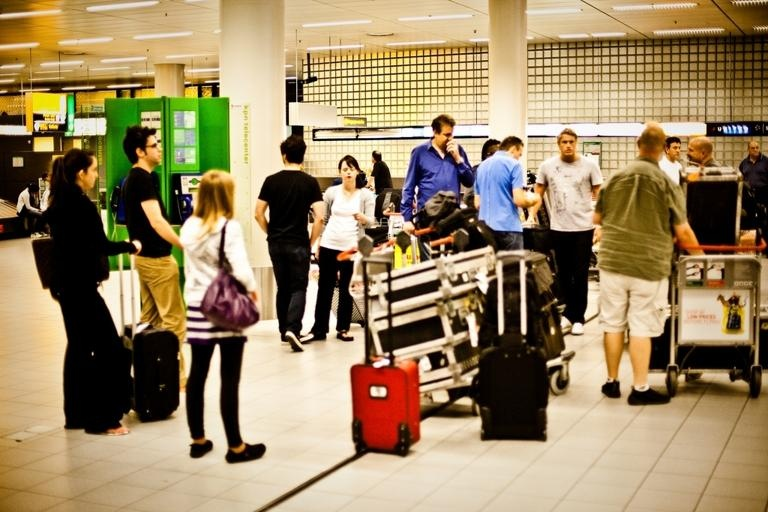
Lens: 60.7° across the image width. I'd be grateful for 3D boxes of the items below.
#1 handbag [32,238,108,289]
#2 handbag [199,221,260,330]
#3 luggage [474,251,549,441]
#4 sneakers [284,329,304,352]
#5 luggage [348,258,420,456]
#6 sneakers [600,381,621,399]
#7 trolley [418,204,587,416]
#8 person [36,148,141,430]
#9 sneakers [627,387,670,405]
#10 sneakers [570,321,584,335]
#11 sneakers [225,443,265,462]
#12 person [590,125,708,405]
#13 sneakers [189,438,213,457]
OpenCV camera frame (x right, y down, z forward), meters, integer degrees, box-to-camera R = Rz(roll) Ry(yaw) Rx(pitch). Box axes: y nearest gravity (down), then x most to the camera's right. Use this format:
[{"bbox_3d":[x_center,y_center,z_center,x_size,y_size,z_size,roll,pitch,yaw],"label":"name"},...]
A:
[{"bbox_3d":[-2.326,0.040,4.870,0.352,0.317,0.180,3,13,2],"label":"handbag"},{"bbox_3d":[-1.014,0.135,4.252,0.355,0.714,0.192,-4,7,-18],"label":"handbag"},{"bbox_3d":[0.930,0.619,4.755,0.506,1.335,0.386,-1,7,7],"label":"luggage"},{"bbox_3d":[-0.952,0.881,6.936,0.193,0.223,0.199,-6,9,-31],"label":"sneakers"},{"bbox_3d":[-0.009,0.711,4.542,0.430,1.258,0.340,-1,10,12],"label":"luggage"},{"bbox_3d":[1.899,1.104,5.487,0.094,0.120,0.183,1,10,6],"label":"sneakers"},{"bbox_3d":[0.868,0.370,5.301,1.298,1.666,1.173,0,6,30],"label":"trolley"},{"bbox_3d":[-2.217,0.262,4.931,0.555,2.110,0.310,0,7,10],"label":"person"},{"bbox_3d":[2.139,1.141,5.401,0.393,0.162,0.131,-2,4,1],"label":"sneakers"},{"bbox_3d":[2.177,0.798,7.401,0.156,0.124,0.318,-2,0,16],"label":"sneakers"},{"bbox_3d":[-0.937,1.305,4.462,0.218,0.084,0.117,-9,6,-22],"label":"sneakers"},{"bbox_3d":[2.200,0.069,5.561,0.832,2.237,0.758,5,6,32],"label":"person"},{"bbox_3d":[-1.273,1.323,4.553,0.081,0.072,0.178,2,11,15],"label":"sneakers"}]
